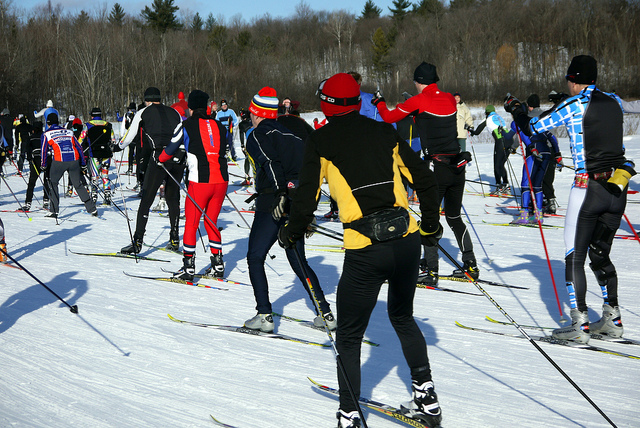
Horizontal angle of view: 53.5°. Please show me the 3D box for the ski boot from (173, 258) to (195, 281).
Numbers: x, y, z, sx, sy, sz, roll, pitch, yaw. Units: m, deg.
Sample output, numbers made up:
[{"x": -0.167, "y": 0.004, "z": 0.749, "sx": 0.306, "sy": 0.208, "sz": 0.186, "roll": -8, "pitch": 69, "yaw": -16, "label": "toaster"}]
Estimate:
[{"x": -1.939, "y": 0.765, "z": 9.088, "sx": 0.340, "sy": 0.321, "sz": 0.091, "roll": 4, "pitch": 10, "yaw": 22, "label": "ski boot"}]

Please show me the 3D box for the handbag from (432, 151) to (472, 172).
[{"x": 1.809, "y": -0.726, "z": 8.629, "sx": 0.351, "sy": 0.167, "sz": 0.276, "roll": 10, "pitch": 11, "yaw": 36, "label": "handbag"}]

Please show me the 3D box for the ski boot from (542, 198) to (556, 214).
[{"x": 4.692, "y": -0.155, "z": 12.875, "sx": 0.245, "sy": 0.310, "sz": 0.311, "roll": -2, "pitch": 3, "yaw": -16, "label": "ski boot"}]

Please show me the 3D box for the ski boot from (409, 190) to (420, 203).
[{"x": 1.654, "y": -0.295, "z": 11.093, "sx": 0.226, "sy": 0.092, "sz": 0.298, "roll": 4, "pitch": -17, "yaw": 10, "label": "ski boot"}]

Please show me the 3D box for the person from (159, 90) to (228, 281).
[{"x": -1.706, "y": -0.370, "z": 9.087, "sx": 0.808, "sy": 2.679, "sz": 0.680, "roll": -2, "pitch": 9, "yaw": -9, "label": "person"}]

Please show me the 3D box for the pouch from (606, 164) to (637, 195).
[{"x": 3.360, "y": -0.375, "z": 7.087, "sx": 0.287, "sy": 0.318, "sz": 0.111, "roll": -2, "pitch": 9, "yaw": -8, "label": "pouch"}]

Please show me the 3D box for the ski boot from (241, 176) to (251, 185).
[{"x": -1.915, "y": -0.885, "z": 17.095, "sx": 0.134, "sy": 0.244, "sz": 0.189, "roll": 11, "pitch": -9, "yaw": 25, "label": "ski boot"}]

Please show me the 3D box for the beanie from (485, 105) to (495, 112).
[{"x": 3.780, "y": -2.319, "z": 14.077, "sx": 0.159, "sy": 0.108, "sz": 0.214, "roll": -10, "pitch": 15, "yaw": -24, "label": "beanie"}]

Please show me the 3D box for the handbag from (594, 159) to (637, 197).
[{"x": 3.352, "y": -0.382, "z": 7.170, "sx": 0.312, "sy": 0.175, "sz": 0.479, "roll": 31, "pitch": 66, "yaw": 30, "label": "handbag"}]

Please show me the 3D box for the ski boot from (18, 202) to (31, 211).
[{"x": -6.431, "y": -0.167, "z": 13.917, "sx": 0.225, "sy": 0.199, "sz": 0.095, "roll": 21, "pitch": -3, "yaw": 7, "label": "ski boot"}]

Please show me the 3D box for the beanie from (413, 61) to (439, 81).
[{"x": 1.441, "y": -1.937, "z": 8.622, "sx": 0.211, "sy": 0.237, "sz": 0.283, "roll": -25, "pitch": 55, "yaw": -39, "label": "beanie"}]

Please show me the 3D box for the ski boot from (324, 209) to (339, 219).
[{"x": 0.259, "y": -0.007, "z": 12.581, "sx": 0.169, "sy": 0.104, "sz": 0.234, "roll": 7, "pitch": -10, "yaw": -42, "label": "ski boot"}]

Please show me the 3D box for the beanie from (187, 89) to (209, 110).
[{"x": -1.755, "y": -1.656, "z": 9.250, "sx": 0.269, "sy": 0.279, "sz": 0.283, "roll": -2, "pitch": 10, "yaw": -8, "label": "beanie"}]

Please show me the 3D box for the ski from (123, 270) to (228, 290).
[{"x": -2.053, "y": 0.943, "z": 9.142, "sx": 1.655, "sy": 0.106, "sz": 0.141, "roll": 3, "pitch": 10, "yaw": 17, "label": "ski"}]

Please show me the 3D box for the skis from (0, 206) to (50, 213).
[{"x": -6.430, "y": -0.108, "z": 13.920, "sx": 0.632, "sy": 0.072, "sz": 0.073, "roll": -4, "pitch": 46, "yaw": -29, "label": "skis"}]

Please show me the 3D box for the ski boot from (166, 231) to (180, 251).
[{"x": -2.444, "y": 0.438, "z": 10.651, "sx": 0.185, "sy": 0.337, "sz": 0.141, "roll": -2, "pitch": 9, "yaw": -9, "label": "ski boot"}]

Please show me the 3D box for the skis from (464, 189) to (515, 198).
[{"x": 4.193, "y": -0.495, "z": 15.532, "sx": 0.102, "sy": 0.106, "sz": 0.876, "roll": -21, "pitch": 22, "yaw": -37, "label": "skis"}]

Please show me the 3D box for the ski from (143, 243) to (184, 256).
[{"x": -2.601, "y": 0.589, "z": 10.646, "sx": 0.866, "sy": 0.102, "sz": 0.099, "roll": 13, "pitch": -18, "yaw": 39, "label": "ski"}]

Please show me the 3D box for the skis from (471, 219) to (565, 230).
[{"x": 3.819, "y": 0.194, "z": 12.053, "sx": 1.248, "sy": 0.144, "sz": 0.159, "roll": -4, "pitch": 12, "yaw": 4, "label": "skis"}]

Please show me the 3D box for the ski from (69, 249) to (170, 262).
[{"x": -3.184, "y": 0.667, "z": 10.210, "sx": 1.635, "sy": 0.090, "sz": 0.167, "roll": 1, "pitch": 10, "yaw": 7, "label": "ski"}]

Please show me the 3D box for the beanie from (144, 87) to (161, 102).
[{"x": -2.822, "y": -2.014, "z": 10.847, "sx": 0.250, "sy": 0.249, "sz": 0.255, "roll": -3, "pitch": 6, "yaw": -30, "label": "beanie"}]

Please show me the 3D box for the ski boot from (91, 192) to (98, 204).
[{"x": -4.999, "y": -0.367, "z": 14.170, "sx": 0.093, "sy": 0.262, "sz": 0.198, "roll": -6, "pitch": 7, "yaw": -4, "label": "ski boot"}]

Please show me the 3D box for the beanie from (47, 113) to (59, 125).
[{"x": -5.393, "y": -1.926, "z": 12.904, "sx": 0.198, "sy": 0.225, "sz": 0.253, "roll": -5, "pitch": 11, "yaw": -25, "label": "beanie"}]

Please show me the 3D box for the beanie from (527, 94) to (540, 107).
[{"x": 3.680, "y": -1.938, "z": 10.882, "sx": 0.186, "sy": 0.202, "sz": 0.228, "roll": 7, "pitch": -1, "yaw": 11, "label": "beanie"}]

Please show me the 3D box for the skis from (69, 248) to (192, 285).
[{"x": -2.844, "y": 0.801, "z": 9.587, "sx": 1.457, "sy": 0.160, "sz": 0.167, "roll": 13, "pitch": 23, "yaw": 13, "label": "skis"}]

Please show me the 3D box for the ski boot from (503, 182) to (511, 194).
[{"x": 4.547, "y": -0.623, "z": 15.289, "sx": 0.155, "sy": 0.334, "sz": 0.468, "roll": -10, "pitch": -10, "yaw": 21, "label": "ski boot"}]

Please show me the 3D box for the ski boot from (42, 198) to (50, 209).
[{"x": -5.871, "y": -0.235, "z": 13.607, "sx": 0.156, "sy": 0.282, "sz": 0.184, "roll": 2, "pitch": 1, "yaw": -14, "label": "ski boot"}]

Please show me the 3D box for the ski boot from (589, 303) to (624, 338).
[{"x": 3.318, "y": 1.218, "z": 7.443, "sx": 0.163, "sy": 0.400, "sz": 0.461, "roll": -1, "pitch": 0, "yaw": -29, "label": "ski boot"}]

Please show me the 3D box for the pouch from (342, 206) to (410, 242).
[{"x": 0.534, "y": 0.086, "z": 5.845, "sx": 0.594, "sy": 0.304, "sz": 0.153, "roll": 0, "pitch": 9, "yaw": 1, "label": "pouch"}]

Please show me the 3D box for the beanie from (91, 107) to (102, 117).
[{"x": -5.510, "y": -2.522, "z": 15.792, "sx": 0.193, "sy": 0.254, "sz": 0.275, "roll": 0, "pitch": 20, "yaw": -6, "label": "beanie"}]

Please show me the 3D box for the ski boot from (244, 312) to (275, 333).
[{"x": -0.666, "y": 1.287, "z": 7.654, "sx": 0.410, "sy": 0.206, "sz": 0.149, "roll": 6, "pitch": 4, "yaw": 26, "label": "ski boot"}]

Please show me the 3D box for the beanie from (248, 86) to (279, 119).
[{"x": -0.674, "y": -1.394, "z": 7.793, "sx": 0.409, "sy": 0.348, "sz": 0.317, "roll": 6, "pitch": 23, "yaw": -25, "label": "beanie"}]

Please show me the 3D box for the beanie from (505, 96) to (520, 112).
[{"x": 2.498, "y": -1.445, "z": 8.226, "sx": 0.170, "sy": 0.226, "sz": 0.217, "roll": -11, "pitch": 17, "yaw": -33, "label": "beanie"}]

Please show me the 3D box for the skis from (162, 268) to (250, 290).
[{"x": -1.646, "y": 0.936, "z": 9.171, "sx": 1.298, "sy": 0.083, "sz": 0.152, "roll": 13, "pitch": 51, "yaw": 24, "label": "skis"}]

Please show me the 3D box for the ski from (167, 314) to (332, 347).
[{"x": -0.801, "y": 1.391, "z": 7.705, "sx": 2.098, "sy": 0.248, "sz": 0.195, "roll": 10, "pitch": 3, "yaw": -19, "label": "ski"}]
